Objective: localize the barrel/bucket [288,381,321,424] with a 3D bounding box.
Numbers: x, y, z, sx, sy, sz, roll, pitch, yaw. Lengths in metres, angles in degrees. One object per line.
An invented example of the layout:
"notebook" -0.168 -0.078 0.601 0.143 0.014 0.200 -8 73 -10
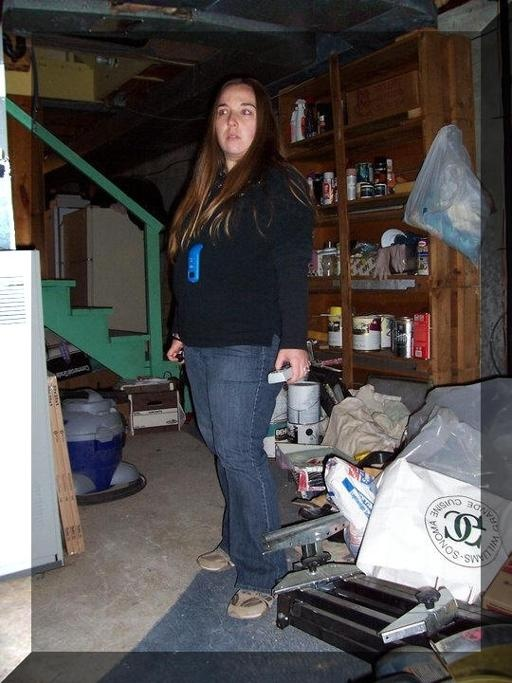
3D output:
"barrel/bucket" 0.255 0.333 3.076 0.215 0.205 0.205 -1 3 0

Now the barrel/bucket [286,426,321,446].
"barrel/bucket" 0.258 0.492 2.977 0.173 0.114 0.101 2 1 11

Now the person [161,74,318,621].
"person" -0.044 0.006 1.660 0.282 1.560 0.498 -7 7 -43

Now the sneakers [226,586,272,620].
"sneakers" -0.023 0.754 1.621 0.115 0.043 0.067 8 -12 -37

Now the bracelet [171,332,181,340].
"bracelet" -0.276 -0.019 1.935 0.027 0.012 0.036 -5 -32 10

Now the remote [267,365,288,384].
"remote" 0.060 0.087 1.518 0.041 0.017 0.052 -11 15 17
